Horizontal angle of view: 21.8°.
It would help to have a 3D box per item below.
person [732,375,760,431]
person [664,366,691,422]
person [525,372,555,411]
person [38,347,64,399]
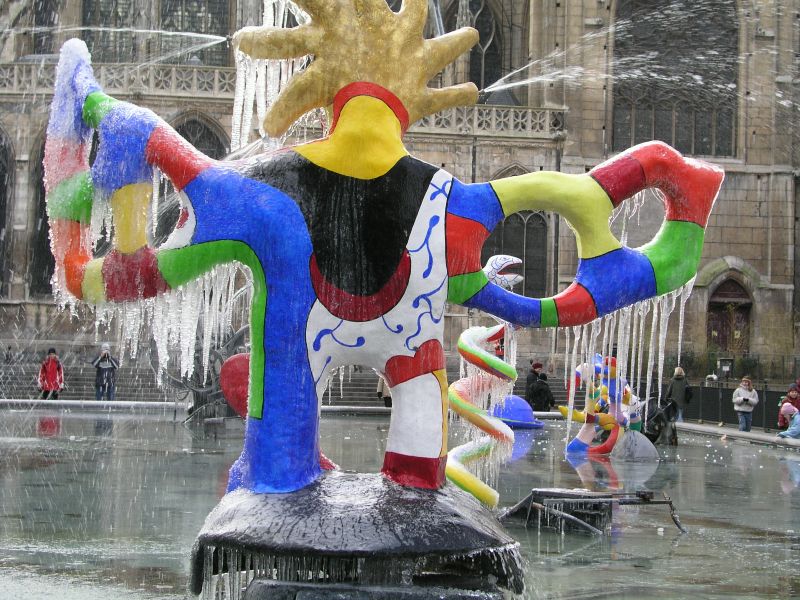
[{"bbox_3d":[9.217,2.689,55.002,0.670,1.450,1.722,1,-2,10],"label":"person"},{"bbox_3d":[7.194,2.301,53.100,0.605,1.270,1.522,1,-2,7],"label":"person"},{"bbox_3d":[3.894,2.468,57.463,0.734,1.072,0.733,2,-2,-12],"label":"person"},{"bbox_3d":[-9.554,1.941,56.294,0.673,1.377,2.210,2,-2,-10],"label":"person"}]
